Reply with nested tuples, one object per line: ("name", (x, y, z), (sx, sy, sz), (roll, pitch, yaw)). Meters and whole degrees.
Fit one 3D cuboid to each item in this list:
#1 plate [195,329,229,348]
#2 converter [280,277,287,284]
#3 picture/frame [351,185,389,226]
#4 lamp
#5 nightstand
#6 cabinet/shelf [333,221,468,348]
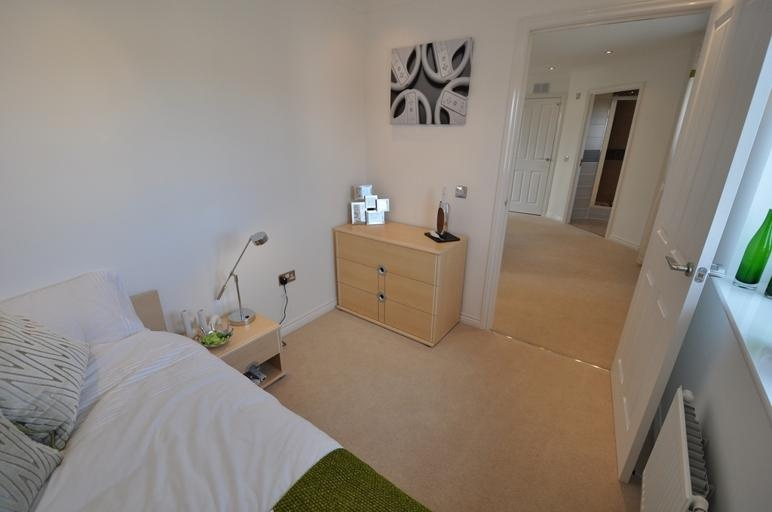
("plate", (-1.168, 0.553, 3.144), (0.137, 0.051, 0.135), (-6, 19, -29))
("converter", (-0.854, 0.209, 3.854), (0.013, 0.053, 0.050), (17, 20, 41))
("picture/frame", (-0.146, -0.474, 4.286), (0.385, 0.325, 0.205), (1, 22, -4))
("lamp", (-1.076, 0.176, 3.565), (0.354, 0.900, 0.203), (-7, 43, -19))
("nightstand", (-1.065, 0.754, 3.406), (0.427, 0.411, 0.498), (10, 22, 35))
("cabinet/shelf", (0.116, 0.185, 4.210), (1.098, 0.822, 0.598), (16, 26, 34))
